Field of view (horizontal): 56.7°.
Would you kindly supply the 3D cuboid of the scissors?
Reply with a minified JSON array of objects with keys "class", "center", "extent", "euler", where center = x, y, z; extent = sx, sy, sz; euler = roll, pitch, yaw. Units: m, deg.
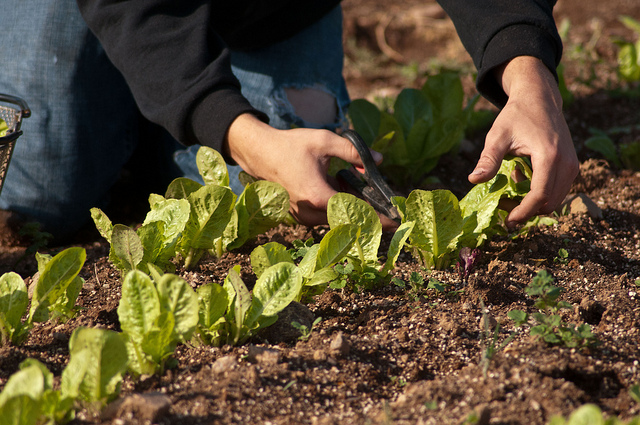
[{"class":"scissors","center":[0.177,-0.132,2.251],"extent":[0.105,0.326,0.322],"euler":[-28,27,-18]}]
